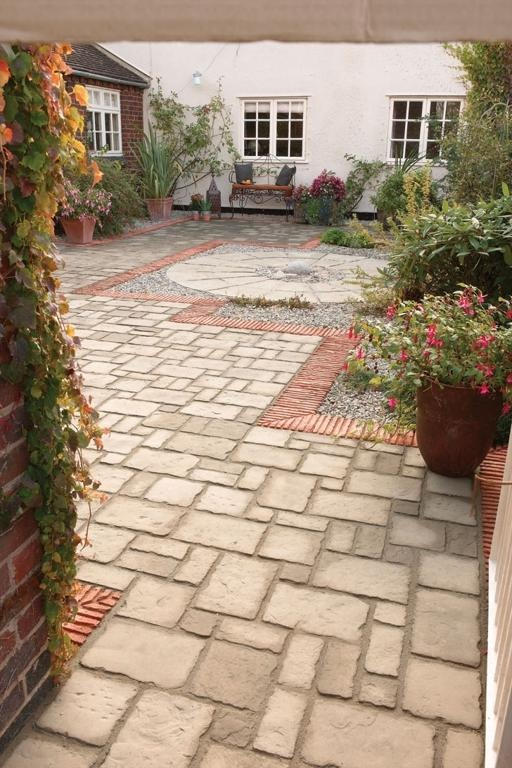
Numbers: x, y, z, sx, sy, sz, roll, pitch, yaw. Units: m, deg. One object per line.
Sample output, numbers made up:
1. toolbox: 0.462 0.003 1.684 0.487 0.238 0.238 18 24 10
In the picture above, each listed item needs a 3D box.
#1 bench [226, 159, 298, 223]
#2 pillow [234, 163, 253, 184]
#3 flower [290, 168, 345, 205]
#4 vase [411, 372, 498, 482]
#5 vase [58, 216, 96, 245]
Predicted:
1. bench: 0.196 -5.160 14.310 1.822 1.544 0.721 7 41 11
2. pillow: -0.356 -5.591 14.263 0.627 0.585 0.193 -9 6 -34
3. flower: 1.527 -4.742 13.136 1.089 0.635 0.895 -12 38 -13
4. vase: 1.036 0.181 3.087 0.488 0.563 0.485 -6 26 -9
5. vase: -3.300 -2.819 9.951 0.560 0.456 0.509 3 18 8
